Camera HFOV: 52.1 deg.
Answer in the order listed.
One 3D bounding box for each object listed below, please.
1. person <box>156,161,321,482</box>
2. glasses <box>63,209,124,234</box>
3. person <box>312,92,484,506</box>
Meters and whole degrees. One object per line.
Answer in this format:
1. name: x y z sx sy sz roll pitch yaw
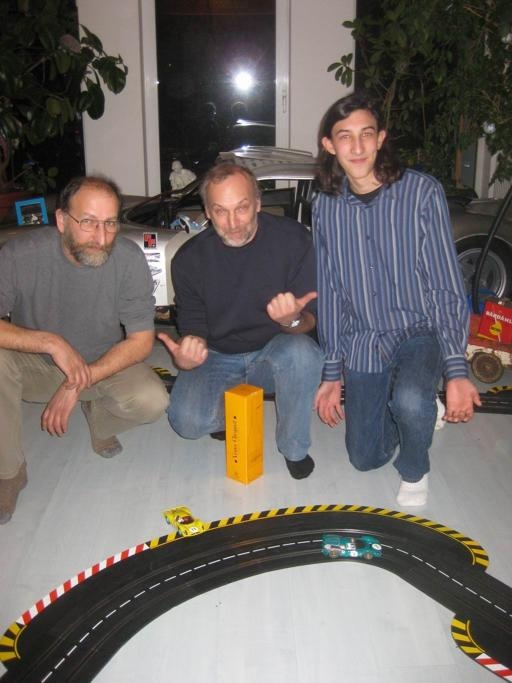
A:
1. person: -0.053 -0.075 1.976 0.600 1.129 0.374 1 14 5
2. glasses: -0.555 -0.399 1.780 0.170 0.066 0.075 -5 15 -18
3. person: 0.465 -0.147 1.809 0.368 1.353 0.693 -6 15 -21
